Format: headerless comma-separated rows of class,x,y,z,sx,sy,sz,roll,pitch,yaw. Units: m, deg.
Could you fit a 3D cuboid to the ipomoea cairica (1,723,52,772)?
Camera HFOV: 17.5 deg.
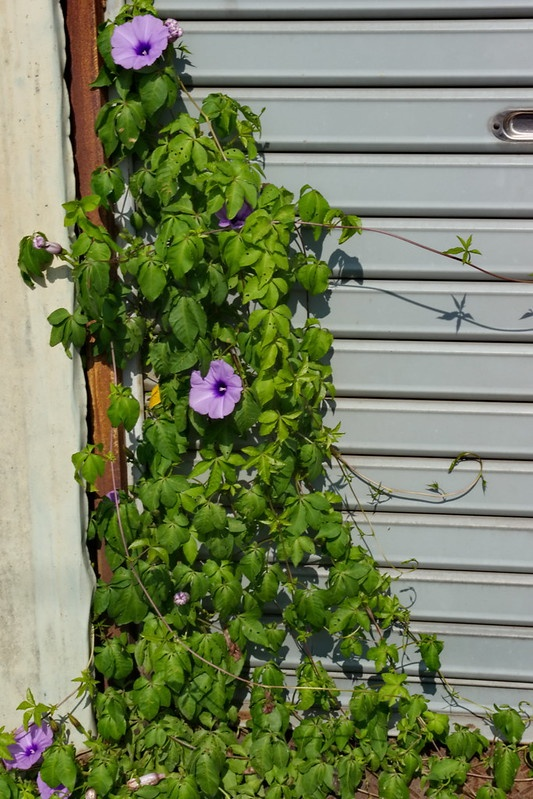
ipomoea cairica,-0.854,1.255,6.244,0.160,0.173,0.092,5,-12,-4

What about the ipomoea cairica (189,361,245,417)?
ipomoea cairica,-0.182,-0.032,6.141,0.189,0.194,0.106,1,0,24

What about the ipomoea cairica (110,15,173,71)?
ipomoea cairica,-0.445,-1.244,6.058,0.195,0.190,0.093,1,9,19
